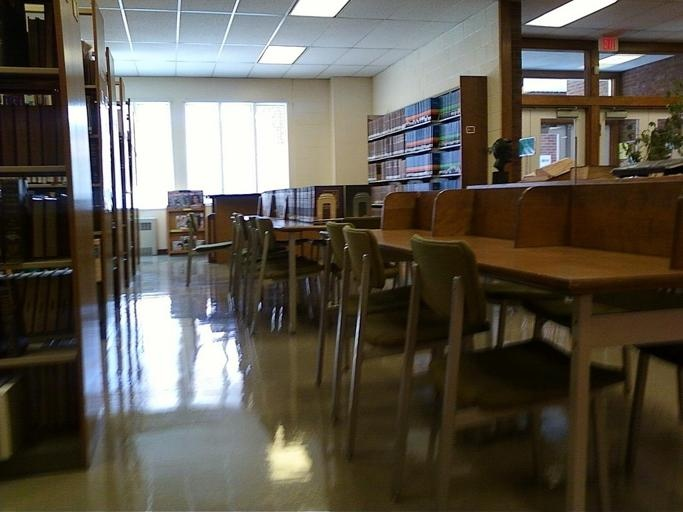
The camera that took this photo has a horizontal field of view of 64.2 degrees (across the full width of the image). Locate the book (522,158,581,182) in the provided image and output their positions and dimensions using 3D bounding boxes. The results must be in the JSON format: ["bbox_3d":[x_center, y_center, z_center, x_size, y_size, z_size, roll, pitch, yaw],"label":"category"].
[{"bbox_3d":[1.582,-0.625,4.165,0.221,0.094,0.290,-2,4,0],"label":"book"}]

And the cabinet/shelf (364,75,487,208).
[{"bbox_3d":[1.174,-1.657,7.816,0.566,1.473,2.501,-7,11,-23],"label":"cabinet/shelf"}]

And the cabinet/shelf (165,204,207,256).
[{"bbox_3d":[-2.836,-0.454,10.049,0.719,0.797,0.249,-3,-5,-9],"label":"cabinet/shelf"}]
